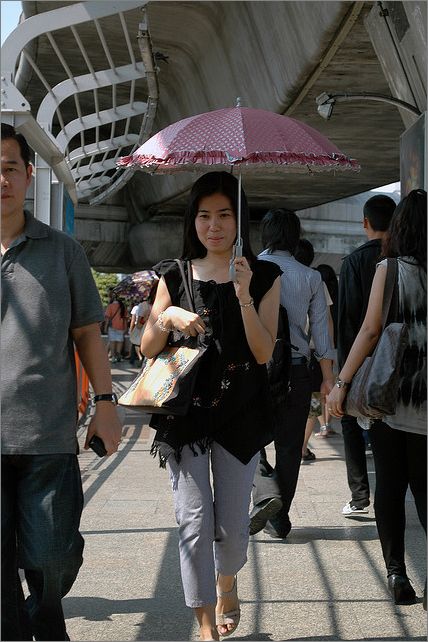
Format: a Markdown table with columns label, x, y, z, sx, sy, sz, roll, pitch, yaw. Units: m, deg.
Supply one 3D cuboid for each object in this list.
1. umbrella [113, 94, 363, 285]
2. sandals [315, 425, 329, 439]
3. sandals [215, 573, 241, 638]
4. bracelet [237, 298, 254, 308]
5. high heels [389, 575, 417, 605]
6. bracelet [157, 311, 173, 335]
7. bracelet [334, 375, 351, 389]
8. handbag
| label | x | y | z | sx | sy | sz | roll | pitch | yaw |
| --- | --- | --- | --- | --- | --- | --- | --- | --- | --- |
| umbrella | 0.105 | -0.605 | 2.664 | 1.057 | 0.689 | 1.077 | 5 | 14 | 29 |
| sandals | 1.375 | 1.481 | 7.837 | 0.291 | 0.181 | 0.110 | 2 | -6 | 5 |
| sandals | 0.069 | 1.080 | 2.220 | 0.083 | 0.094 | 0.256 | -1 | 9 | 5 |
| bracelet | 0.111 | -0.058 | 2.030 | 0.049 | 0.034 | 0.072 | 1 | -4 | 0 |
| high heels | 0.812 | 1.166 | 2.535 | 0.077 | 0.080 | 0.192 | -3 | -11 | 15 |
| bracelet | -0.165 | 0.006 | 2.067 | 0.064 | 0.071 | 0.029 | 23 | 27 | 26 |
| bracelet | 0.525 | 0.255 | 2.430 | 0.044 | 0.045 | 0.029 | 14 | 10 | 40 |
| handbag | 0.622 | 0.085 | 2.259 | 0.184 | 0.652 | 0.322 | 1 | -5 | -3 |
